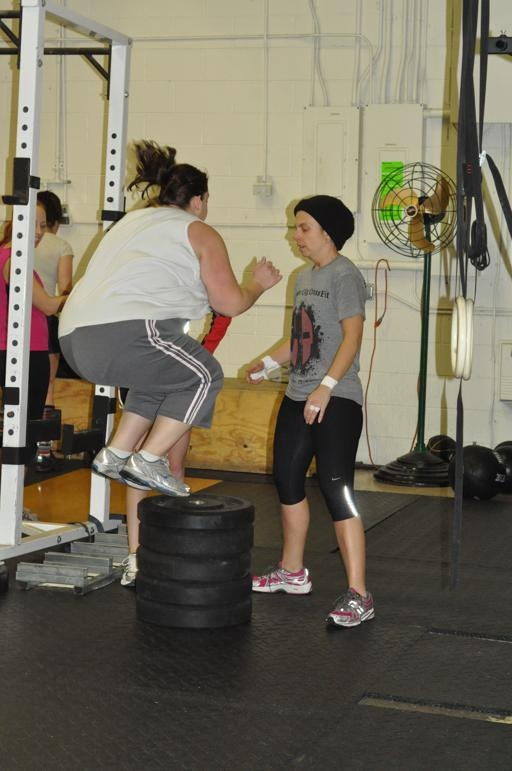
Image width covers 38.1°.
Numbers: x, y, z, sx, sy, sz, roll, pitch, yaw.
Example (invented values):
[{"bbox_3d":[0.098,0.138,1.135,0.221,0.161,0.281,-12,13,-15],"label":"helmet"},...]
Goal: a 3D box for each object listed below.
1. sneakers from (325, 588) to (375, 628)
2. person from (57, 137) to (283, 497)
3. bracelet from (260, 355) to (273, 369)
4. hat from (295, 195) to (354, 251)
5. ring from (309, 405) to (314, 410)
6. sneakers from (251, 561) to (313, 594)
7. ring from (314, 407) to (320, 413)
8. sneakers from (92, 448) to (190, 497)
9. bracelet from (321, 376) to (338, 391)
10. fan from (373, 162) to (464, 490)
[{"bbox_3d":[0.326,0.760,2.539,0.083,0.089,0.195,-4,-5,31],"label":"sneakers"},{"bbox_3d":[-0.298,-0.244,2.500,0.704,0.980,0.430,2,1,1],"label":"person"},{"bbox_3d":[0.041,-0.096,2.806,0.037,0.035,0.045,0,-3,10],"label":"bracelet"},{"bbox_3d":[0.245,-0.569,2.576,0.218,0.171,0.125,2,1,-28],"label":"hat"},{"bbox_3d":[0.180,0.071,2.367,0.022,0.015,0.012,2,-1,12],"label":"ring"},{"bbox_3d":[0.099,0.756,2.923,0.263,0.109,0.092,1,-1,7],"label":"sneakers"},{"bbox_3d":[0.197,0.077,2.367,0.014,0.015,0.016,2,-3,41],"label":"ring"},{"bbox_3d":[-0.365,0.318,2.422,0.238,0.096,0.161,25,-6,-35],"label":"sneakers"},{"bbox_3d":[0.232,-0.010,2.365,0.052,0.042,0.039,2,1,-14],"label":"bracelet"},{"bbox_3d":[1.146,-0.480,5.437,0.636,2.260,0.856,2,1,3],"label":"fan"}]
